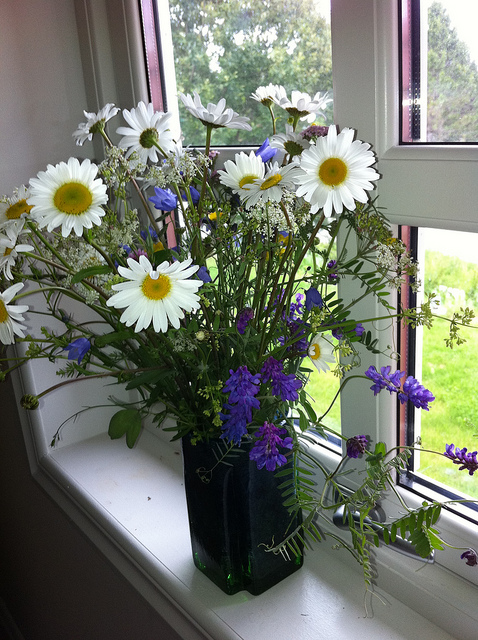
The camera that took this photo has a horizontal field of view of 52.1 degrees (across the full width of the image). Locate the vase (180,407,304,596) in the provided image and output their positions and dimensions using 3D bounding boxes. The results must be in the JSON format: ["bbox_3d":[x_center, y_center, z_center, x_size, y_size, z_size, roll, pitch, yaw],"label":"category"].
[{"bbox_3d":[0.005,0.224,0.652,0.140,0.253,0.147,-2,-12,-25],"label":"vase"}]

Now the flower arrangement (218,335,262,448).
[{"bbox_3d":[0.001,0.064,0.420,0.029,0.079,0.028,14,17,32],"label":"flower arrangement"}]
